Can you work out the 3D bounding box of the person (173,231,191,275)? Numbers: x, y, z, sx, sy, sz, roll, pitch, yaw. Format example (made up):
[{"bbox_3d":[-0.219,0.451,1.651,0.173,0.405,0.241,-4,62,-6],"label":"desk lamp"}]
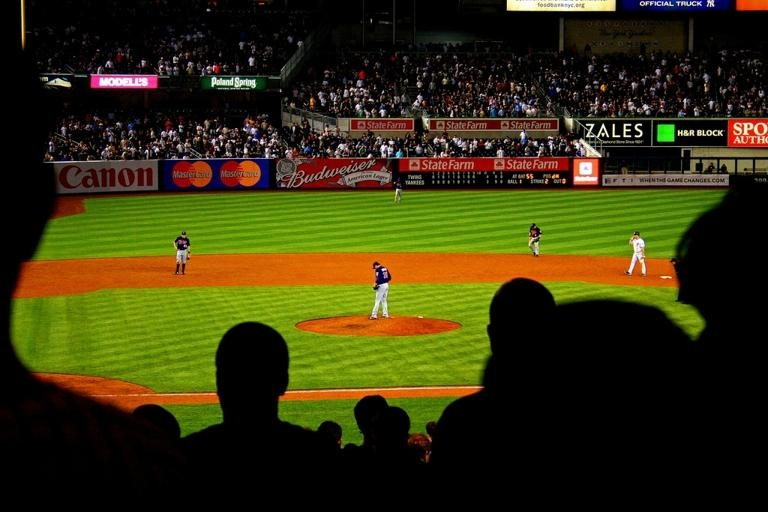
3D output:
[{"bbox_3d":[-6.258,-0.183,26.455,0.427,1.353,1.580,-2,9,-14],"label":"person"}]

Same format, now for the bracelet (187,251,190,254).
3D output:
[{"bbox_3d":[-6.082,-0.136,26.599,0.022,0.074,0.078,-1,5,22],"label":"bracelet"}]

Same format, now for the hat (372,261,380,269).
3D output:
[{"bbox_3d":[-0.174,0.236,19.469,0.187,0.228,0.214,0,9,-4],"label":"hat"}]
